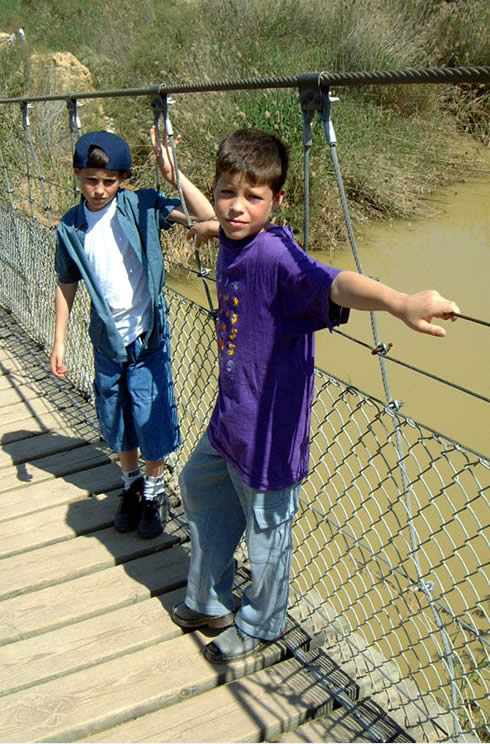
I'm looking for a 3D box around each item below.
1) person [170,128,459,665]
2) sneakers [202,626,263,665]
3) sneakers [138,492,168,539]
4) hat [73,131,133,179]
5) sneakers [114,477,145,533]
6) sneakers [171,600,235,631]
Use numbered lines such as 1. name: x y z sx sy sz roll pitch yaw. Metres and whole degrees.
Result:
1. person: 0.077 0.205 1.601 0.319 1.398 0.700 -7 28 -22
2. sneakers: -0.035 0.745 1.891 0.160 0.044 0.072 -3 16 -37
3. sneakers: -0.328 0.519 2.463 0.072 0.069 0.182 -1 35 1
4. hat: -0.446 -0.677 2.149 0.207 0.137 0.186 -12 29 -30
5. sneakers: -0.423 0.490 2.537 0.080 0.076 0.206 -2 40 9
6. sneakers: -0.125 0.724 2.063 0.177 0.079 0.071 11 22 -5
